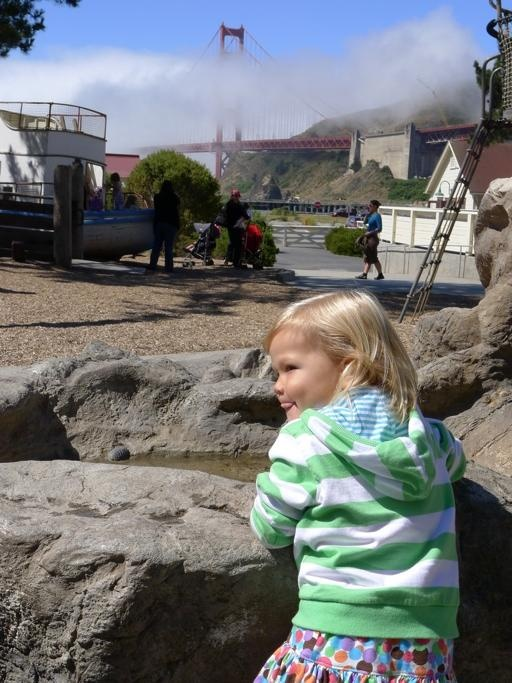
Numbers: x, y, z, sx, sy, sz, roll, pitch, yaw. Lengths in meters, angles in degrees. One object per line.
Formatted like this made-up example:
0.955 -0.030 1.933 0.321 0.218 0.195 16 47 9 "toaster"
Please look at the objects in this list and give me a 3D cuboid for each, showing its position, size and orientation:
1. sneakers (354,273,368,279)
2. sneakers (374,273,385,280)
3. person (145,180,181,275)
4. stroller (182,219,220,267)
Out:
2.023 -1.274 15.130 0.263 0.150 0.084 9 14 13 "sneakers"
2.433 -1.286 15.394 0.199 0.120 0.072 15 30 32 "sneakers"
-1.656 -2.066 13.852 0.503 1.670 1.536 0 7 -7 "person"
-1.196 -2.157 16.990 0.832 0.872 0.605 3 15 6 "stroller"
